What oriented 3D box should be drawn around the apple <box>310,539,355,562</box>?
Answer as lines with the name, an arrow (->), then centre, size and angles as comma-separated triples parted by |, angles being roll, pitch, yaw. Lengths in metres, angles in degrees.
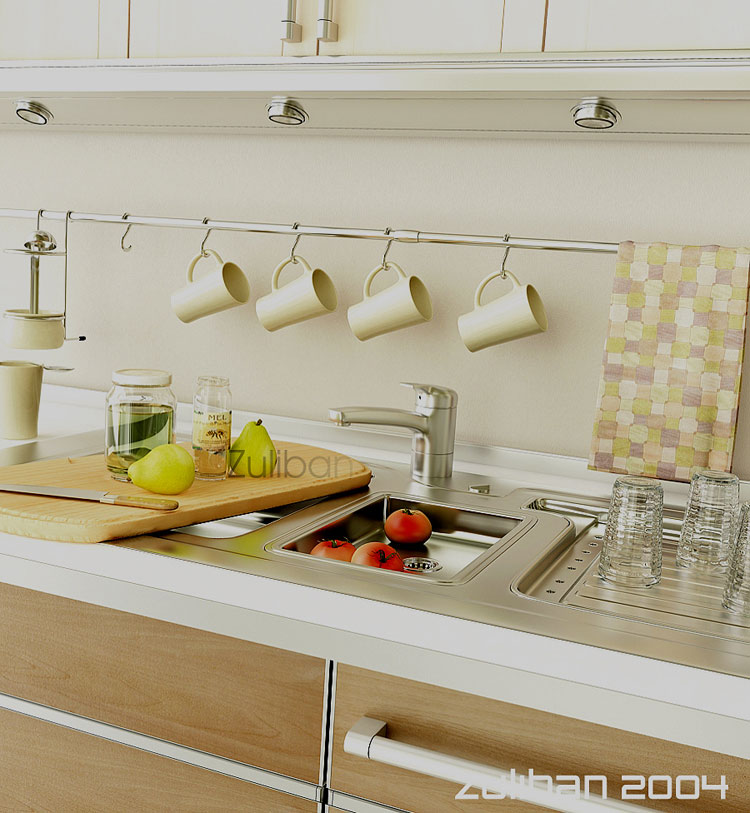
apple -> -0.054, 0.189, 1.058 | 0.057, 0.019, 0.054 | 5, 10, -2

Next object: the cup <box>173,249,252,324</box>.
cup -> -0.324, -0.236, 1.595 | 0.136, 0.139, 0.228 | 4, 10, -13

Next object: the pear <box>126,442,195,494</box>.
pear -> -0.284, 0.082, 1.110 | 0.099, 0.059, 0.057 | -5, 43, 4

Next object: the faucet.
faucet -> 0.047, 0.052, 1.299 | 0.124, 0.162, 0.236 | 14, 13, 30

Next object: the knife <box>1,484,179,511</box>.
knife -> -0.371, 0.119, 1.043 | 0.189, 0.007, 0.018 | 4, 26, 12

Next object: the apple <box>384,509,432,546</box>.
apple -> 0.049, 0.177, 1.172 | 0.065, 0.045, 0.059 | -2, -3, -29
